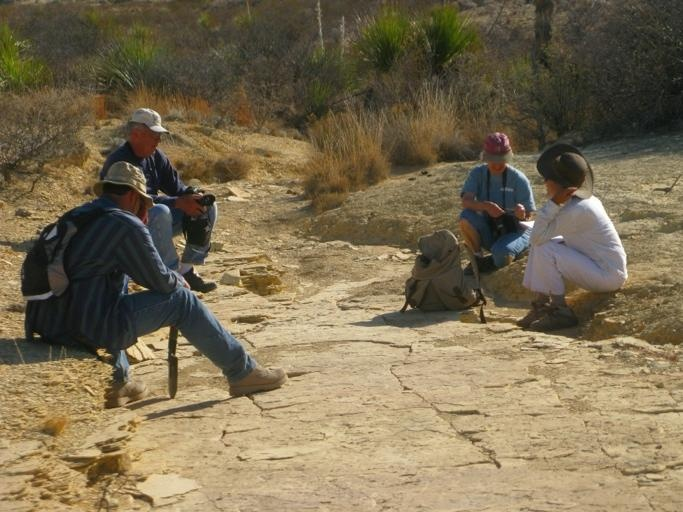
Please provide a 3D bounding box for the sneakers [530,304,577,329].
[{"bbox_3d":[1.868,0.572,8.917,0.562,0.183,0.164,-2,2,-11],"label":"sneakers"}]

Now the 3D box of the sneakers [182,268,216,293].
[{"bbox_3d":[-1.443,0.255,10.360,0.530,0.179,0.149,12,22,-5],"label":"sneakers"}]

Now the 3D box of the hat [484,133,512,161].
[{"bbox_3d":[1.616,-1.164,10.141,0.281,0.148,0.316,0,33,3],"label":"hat"}]

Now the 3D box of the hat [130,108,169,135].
[{"bbox_3d":[-1.832,-1.293,9.375,0.483,0.177,0.255,5,17,-10],"label":"hat"}]

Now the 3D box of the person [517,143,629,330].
[{"bbox_3d":[2.085,-0.191,8.966,0.984,1.700,0.462,-4,4,11],"label":"person"}]

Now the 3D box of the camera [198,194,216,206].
[{"bbox_3d":[-1.321,-0.558,9.713,0.164,0.119,0.159,-5,2,-8],"label":"camera"}]

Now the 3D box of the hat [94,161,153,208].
[{"bbox_3d":[-1.719,-0.624,8.000,0.467,0.204,0.398,26,-23,-32],"label":"hat"}]

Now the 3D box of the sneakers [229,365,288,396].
[{"bbox_3d":[-0.670,1.014,8.039,0.571,0.207,0.178,-6,8,-11],"label":"sneakers"}]

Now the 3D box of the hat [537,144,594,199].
[{"bbox_3d":[2.052,-0.781,8.975,0.464,0.525,0.562,-3,3,8],"label":"hat"}]
